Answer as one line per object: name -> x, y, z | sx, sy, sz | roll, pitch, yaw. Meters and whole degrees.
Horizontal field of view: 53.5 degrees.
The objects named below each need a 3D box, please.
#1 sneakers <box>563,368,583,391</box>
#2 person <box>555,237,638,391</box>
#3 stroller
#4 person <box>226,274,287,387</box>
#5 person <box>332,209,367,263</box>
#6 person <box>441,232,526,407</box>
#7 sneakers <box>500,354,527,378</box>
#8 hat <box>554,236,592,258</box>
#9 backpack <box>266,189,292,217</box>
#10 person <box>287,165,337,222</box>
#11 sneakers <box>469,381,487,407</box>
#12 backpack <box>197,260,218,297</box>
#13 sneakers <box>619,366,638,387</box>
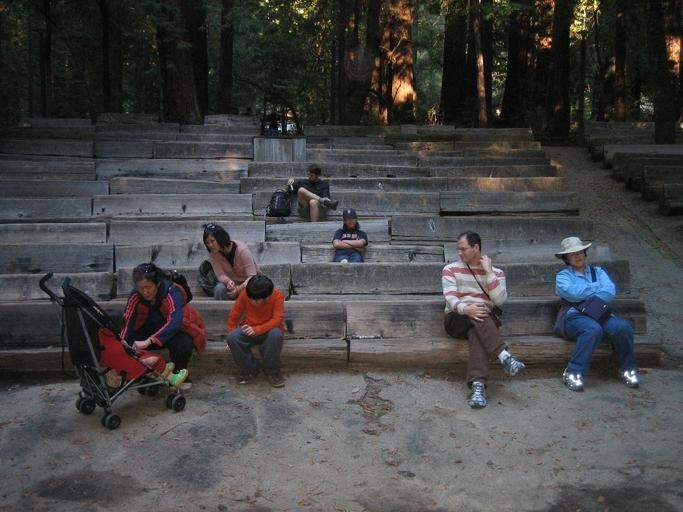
sneakers -> 2.642, 1.406, 7.708 | 0.228, 0.202, 0.234 | 2, 11, 17
person -> 3.024, 0.638, 7.951 | 0.917, 1.603, 1.059 | 0, 10, 7
stroller -> -2.443, 0.983, 7.429 | 1.441, 1.539, 0.806 | -4, 5, -43
person -> -0.994, 0.847, 7.886 | 0.668, 1.267, 0.491 | -3, 10, -6
person -> 0.118, -0.296, 10.240 | 0.532, 0.761, 0.642 | -1, 10, 6
person -> 1.609, 0.662, 7.759 | 0.664, 1.798, 1.080 | -3, 11, -9
sneakers -> 1.907, 1.214, 7.519 | 0.157, 0.131, 0.295 | -36, 2, -8
hat -> 2.828, -0.122, 8.335 | 0.424, 0.177, 0.465 | -14, 1, 15
backpack -> -1.061, -0.904, 11.711 | 0.473, 0.486, 0.351 | 0, 3, -4
person -> -0.528, -1.062, 12.027 | 0.996, 1.270, 0.719 | -1, -17, 4
sneakers -> 1.513, 1.505, 7.487 | 0.190, 0.245, 0.329 | 1, 11, 12
backpack -> -1.714, 0.309, 8.942 | 0.312, 0.438, 0.441 | -5, -14, -8
sneakers -> 3.294, 1.385, 7.701 | 0.171, 0.183, 0.148 | -1, 10, 4
